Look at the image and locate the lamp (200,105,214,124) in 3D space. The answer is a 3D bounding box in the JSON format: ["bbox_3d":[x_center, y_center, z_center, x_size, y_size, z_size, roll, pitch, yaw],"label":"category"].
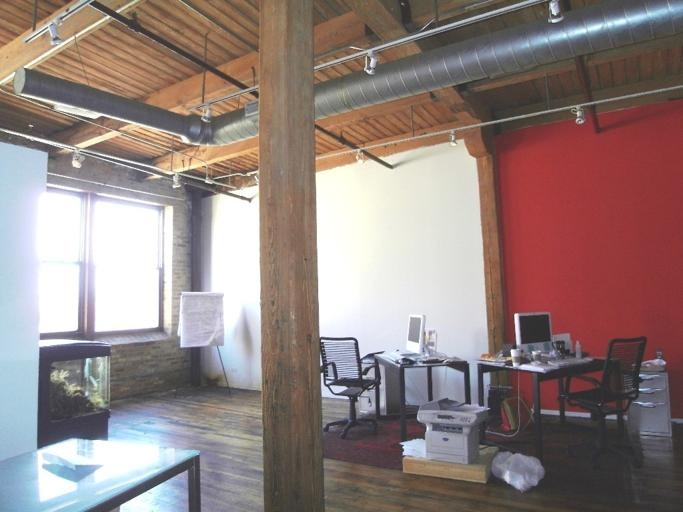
[{"bbox_3d":[-1.768,-1.857,6.921,0.131,0.208,0.381,-2,1,-14],"label":"lamp"}]

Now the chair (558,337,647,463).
[{"bbox_3d":[3.248,1.642,6.357,0.996,1.384,0.751,-3,1,-37],"label":"chair"}]

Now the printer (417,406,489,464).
[{"bbox_3d":[1.285,1.983,6.040,0.656,0.642,0.577,-5,-5,28],"label":"printer"}]

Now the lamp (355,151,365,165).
[{"bbox_3d":[0.291,-1.562,8.323,0.089,0.186,0.366,-2,1,8],"label":"lamp"}]

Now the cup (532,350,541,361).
[{"bbox_3d":[2.406,1.251,6.594,0.116,0.119,0.080,1,-2,-6],"label":"cup"}]

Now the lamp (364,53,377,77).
[{"bbox_3d":[0.323,-2.136,5.891,0.147,0.218,0.358,-2,1,3],"label":"lamp"}]

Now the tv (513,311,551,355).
[{"bbox_3d":[2.476,0.986,6.841,0.642,0.494,0.223,-3,1,-34],"label":"tv"}]

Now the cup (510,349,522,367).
[{"bbox_3d":[2.150,1.256,6.518,0.153,0.219,0.175,1,-4,-18],"label":"cup"}]
